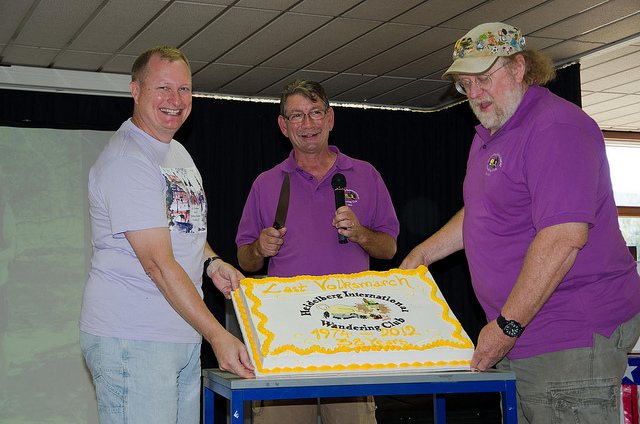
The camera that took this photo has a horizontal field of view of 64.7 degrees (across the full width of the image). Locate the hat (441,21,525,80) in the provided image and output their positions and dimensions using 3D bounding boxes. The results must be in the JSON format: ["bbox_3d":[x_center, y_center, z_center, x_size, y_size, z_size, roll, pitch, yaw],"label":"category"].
[{"bbox_3d":[0.908,-0.941,2.833,0.548,0.302,0.386,-18,14,-31],"label":"hat"}]

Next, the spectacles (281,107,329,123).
[{"bbox_3d":[-0.092,-0.642,3.378,0.276,0.082,0.091,-3,2,-3],"label":"spectacles"}]

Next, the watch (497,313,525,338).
[{"bbox_3d":[0.897,0.551,2.406,0.099,0.086,0.100,18,3,10],"label":"watch"}]

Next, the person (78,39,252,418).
[{"bbox_3d":[-0.834,0.107,2.632,0.895,1.335,0.504,-2,2,7],"label":"person"}]

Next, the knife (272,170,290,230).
[{"bbox_3d":[-0.249,-0.081,3.322,0.056,0.416,0.033,21,-33,-17],"label":"knife"}]
